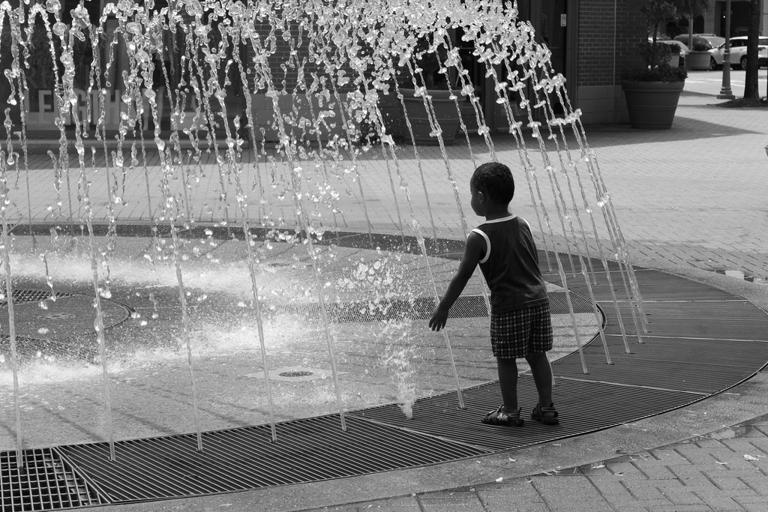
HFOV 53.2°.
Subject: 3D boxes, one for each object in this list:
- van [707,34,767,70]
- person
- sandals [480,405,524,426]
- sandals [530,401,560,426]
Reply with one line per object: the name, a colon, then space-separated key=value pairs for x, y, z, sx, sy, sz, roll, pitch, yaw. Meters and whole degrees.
van: x=24.902 y=-14.430 z=54.277 sx=3.587 sy=2.312 sz=10.333 roll=0 pitch=14 yaw=23
person: x=0.705 y=0.289 z=4.738 sx=0.742 sy=1.676 sz=0.489 roll=-6 pitch=13 yaw=-2
sandals: x=0.753 y=1.012 z=4.901 sx=0.234 sy=0.103 sz=0.121 roll=4 pitch=7 yaw=22
sandals: x=1.021 y=1.017 z=4.897 sx=0.096 sy=0.092 sz=0.204 roll=-2 pitch=9 yaw=-7
